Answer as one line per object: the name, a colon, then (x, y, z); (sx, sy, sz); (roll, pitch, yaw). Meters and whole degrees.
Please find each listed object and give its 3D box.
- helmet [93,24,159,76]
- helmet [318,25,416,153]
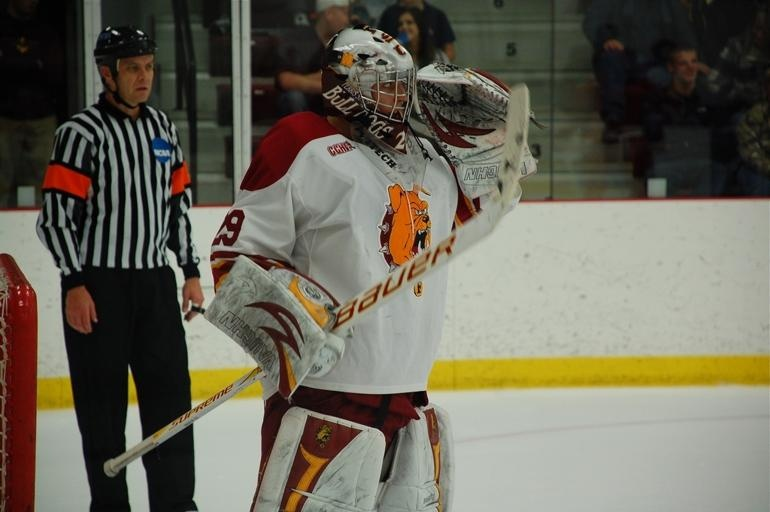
helmet: (-1.466, -1.140, 6.765); (0.296, 0.303, 0.266); (-4, 7, 14)
helmet: (-0.027, -0.859, 6.035); (0.551, 0.658, 0.479); (12, 16, 14)
